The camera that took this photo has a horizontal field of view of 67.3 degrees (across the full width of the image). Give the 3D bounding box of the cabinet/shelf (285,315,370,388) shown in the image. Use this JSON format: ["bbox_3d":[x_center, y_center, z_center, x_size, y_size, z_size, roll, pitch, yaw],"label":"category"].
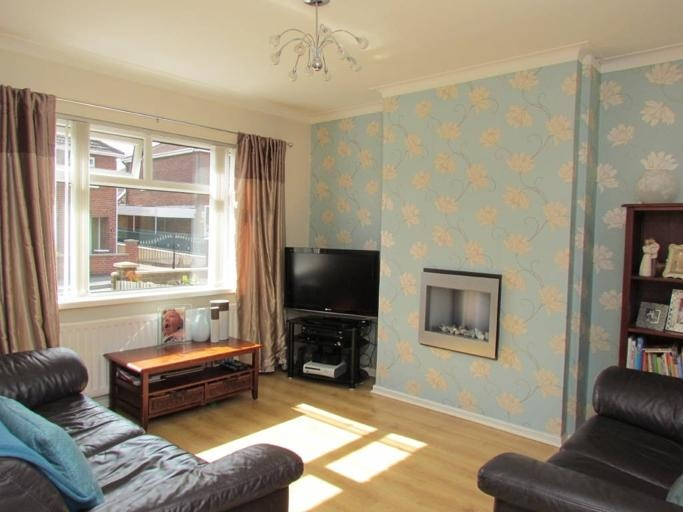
[{"bbox_3d":[-0.137,0.953,5.394,0.986,0.673,0.642,2,2,32],"label":"cabinet/shelf"}]

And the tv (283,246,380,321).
[{"bbox_3d":[-0.100,0.278,5.404,0.771,0.521,0.066,3,3,21],"label":"tv"}]
